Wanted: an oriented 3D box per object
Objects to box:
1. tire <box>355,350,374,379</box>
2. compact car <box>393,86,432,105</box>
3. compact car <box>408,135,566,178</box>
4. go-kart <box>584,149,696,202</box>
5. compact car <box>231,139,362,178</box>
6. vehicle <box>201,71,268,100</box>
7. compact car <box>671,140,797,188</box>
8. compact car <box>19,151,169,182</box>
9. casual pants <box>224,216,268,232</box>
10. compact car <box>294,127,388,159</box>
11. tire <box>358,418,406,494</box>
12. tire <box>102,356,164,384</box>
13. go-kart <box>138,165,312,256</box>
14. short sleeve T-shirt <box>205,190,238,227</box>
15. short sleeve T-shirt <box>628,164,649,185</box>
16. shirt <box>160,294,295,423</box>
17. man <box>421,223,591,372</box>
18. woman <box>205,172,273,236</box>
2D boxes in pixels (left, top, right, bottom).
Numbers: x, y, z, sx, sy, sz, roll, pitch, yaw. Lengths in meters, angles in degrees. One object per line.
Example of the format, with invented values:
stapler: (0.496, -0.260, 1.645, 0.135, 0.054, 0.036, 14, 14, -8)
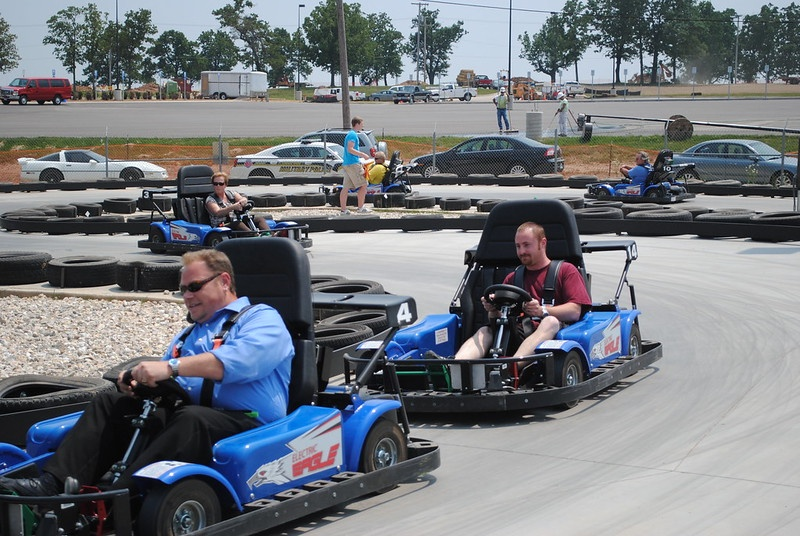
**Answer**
tire: (-0.268, 0.824, 10.948, 0.226, 0.215, 0.266, 2, -2, -11)
compact car: (0.929, -10.410, 74.762, 1.488, 0.972, 2.788, -1, 2, 31)
compact car: (2.051, -2.613, 29.362, 3.328, 0.858, 1.327, 2, 6, 16)
go-kart: (4.282, -1.654, 23.059, 1.721, 0.772, 0.951, 2, 5, 23)
compact car: (-2.541, -2.488, 29.369, 2.535, 0.690, 0.985, -2, 10, 0)
vehicle: (-10.346, -11.378, 78.355, 3.839, 1.612, 1.506, -4, 9, -22)
compact car: (6.880, -2.109, 25.658, 2.892, 0.819, 1.243, 3, 8, 42)
compact car: (-7.258, -2.345, 29.389, 3.070, 0.700, 1.279, -3, 6, -8)
casual pants: (-2.039, -0.587, 17.089, 0.529, 0.175, 0.399, -4, 8, -24)
compact car: (-1.310, -2.752, 29.872, 2.130, 0.921, 1.188, 4, 10, 12)
tire: (-0.161, 1.497, 9.913, 0.237, 0.587, 0.666, -8, -6, 35)
tire: (-2.431, 0.896, 11.350, 0.482, 0.118, 0.448, -2, 3, -25)
go-kart: (-2.525, -0.799, 17.598, 2.557, 1.068, 1.396, 1, 6, 32)
short sleeve T-shirt: (-2.441, -0.806, 17.163, 0.367, 0.443, 0.254, -31, -2, -38)
short sleeve T-shirt: (4.335, -1.679, 22.784, 0.484, 0.407, 0.233, -1, 41, -2)
shirt: (-1.279, 0.719, 9.483, 0.899, 0.642, 0.508, -10, -30, 41)
man: (1.151, 0.226, 11.460, 0.704, 1.245, 1.148, 6, 11, 38)
woman: (-2.313, -0.855, 17.133, 1.160, 0.735, 0.597, 14, 21, 41)
